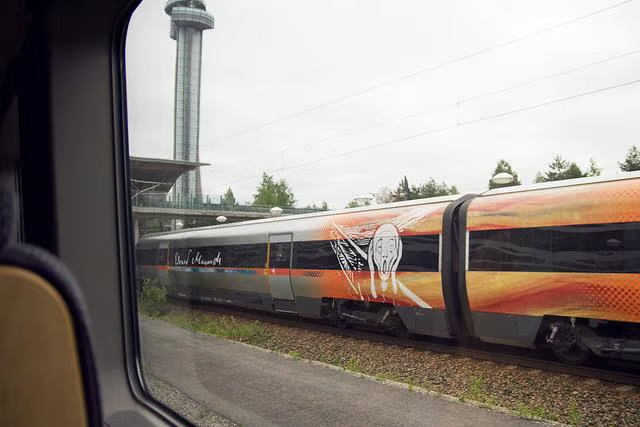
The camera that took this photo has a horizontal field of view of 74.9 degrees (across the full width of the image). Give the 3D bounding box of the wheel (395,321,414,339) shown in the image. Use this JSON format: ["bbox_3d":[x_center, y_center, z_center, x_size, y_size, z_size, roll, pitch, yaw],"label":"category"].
[{"bbox_3d":[1.596,2.223,7.990,0.356,0.383,0.128,-2,-20,16],"label":"wheel"}]
